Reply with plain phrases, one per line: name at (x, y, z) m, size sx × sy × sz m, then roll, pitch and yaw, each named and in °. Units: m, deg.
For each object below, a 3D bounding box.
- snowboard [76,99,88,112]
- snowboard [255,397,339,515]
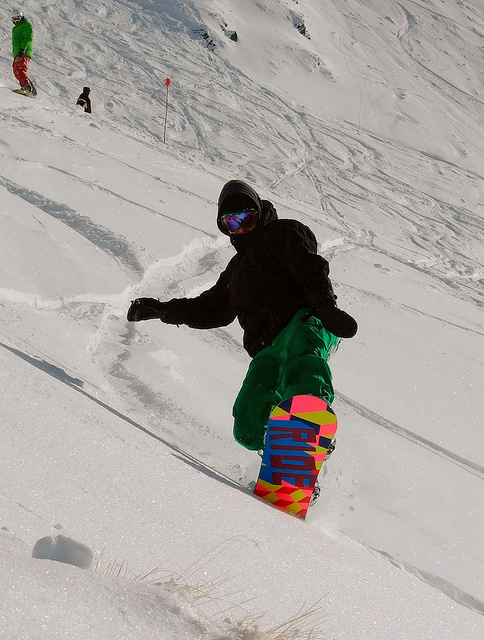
snowboard at (-2.222, -3.016, 13.792) m, size 0.153 × 0.114 × 0.350 m, roll 17°, pitch 14°, yaw -15°
snowboard at (0.243, 0.669, 4.788) m, size 0.295 × 0.110 × 0.807 m, roll 15°, pitch 34°, yaw 3°
